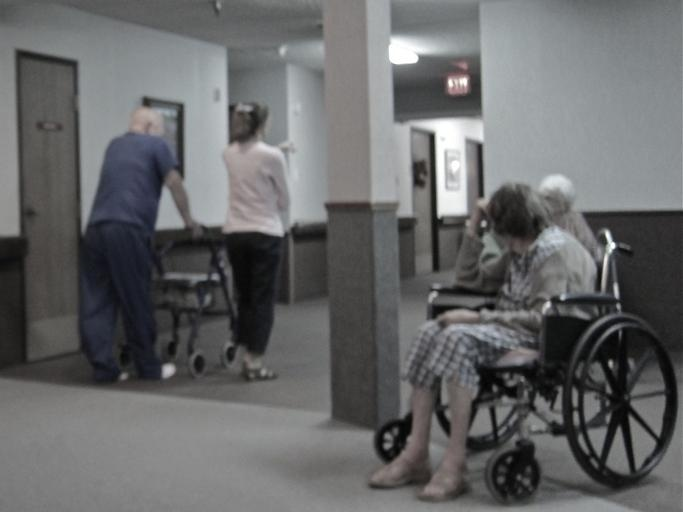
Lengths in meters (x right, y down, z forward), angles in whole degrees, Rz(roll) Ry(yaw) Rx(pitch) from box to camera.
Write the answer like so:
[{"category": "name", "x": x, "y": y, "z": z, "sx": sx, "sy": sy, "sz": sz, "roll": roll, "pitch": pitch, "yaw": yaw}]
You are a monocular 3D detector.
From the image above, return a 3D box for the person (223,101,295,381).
[{"category": "person", "x": -0.458, "y": 0.043, "z": 3.145, "sx": 0.347, "sy": 1.326, "sz": 0.206, "roll": -3, "pitch": 4, "yaw": -12}]

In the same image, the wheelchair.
[{"category": "wheelchair", "x": 0.791, "y": 0.439, "z": 2.319, "sx": 0.998, "sy": 1.112, "sz": 0.828, "roll": 6, "pitch": -8, "yaw": -27}]

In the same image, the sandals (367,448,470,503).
[{"category": "sandals", "x": 0.269, "y": 0.690, "z": 1.879, "sx": 0.251, "sy": 0.111, "sz": 0.163, "roll": 6, "pitch": -10, "yaw": -29}]

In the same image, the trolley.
[{"category": "trolley", "x": -0.974, "y": 0.258, "z": 3.551, "sx": 0.605, "sy": 0.897, "sz": 0.573, "roll": 1, "pitch": 0, "yaw": 31}]

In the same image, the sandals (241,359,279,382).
[{"category": "sandals", "x": -0.473, "y": 0.656, "z": 3.293, "sx": 0.177, "sy": 0.081, "sz": 0.100, "roll": -1, "pitch": 2, "yaw": -9}]

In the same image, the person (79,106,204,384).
[{"category": "person", "x": -1.152, "y": 0.015, "z": 3.209, "sx": 0.618, "sy": 1.412, "sz": 0.232, "roll": -3, "pitch": 4, "yaw": -21}]

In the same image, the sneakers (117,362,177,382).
[{"category": "sneakers", "x": -1.132, "y": 0.640, "z": 3.330, "sx": 0.287, "sy": 0.130, "sz": 0.117, "roll": -5, "pitch": 3, "yaw": -7}]
